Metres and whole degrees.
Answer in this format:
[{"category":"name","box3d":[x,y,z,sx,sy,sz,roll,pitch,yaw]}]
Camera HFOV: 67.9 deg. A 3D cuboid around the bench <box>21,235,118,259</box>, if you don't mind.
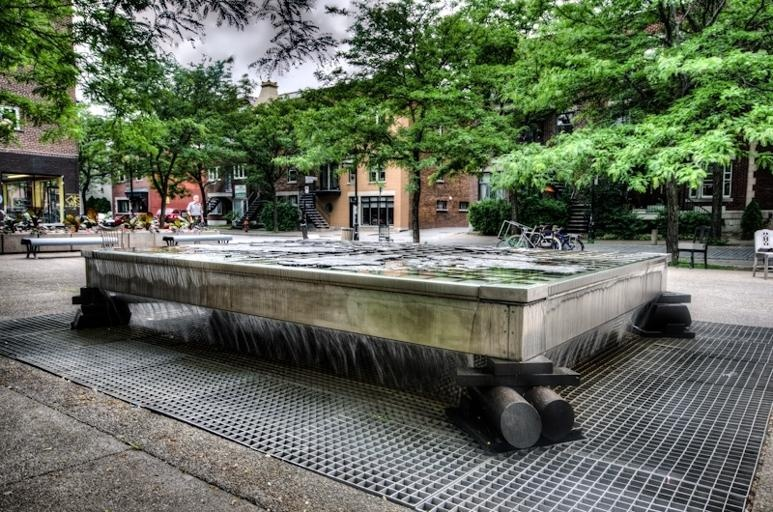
[{"category":"bench","box3d":[-11.138,-0.371,19.648,2.109,0.655,3.331,-3,6,-34]}]
